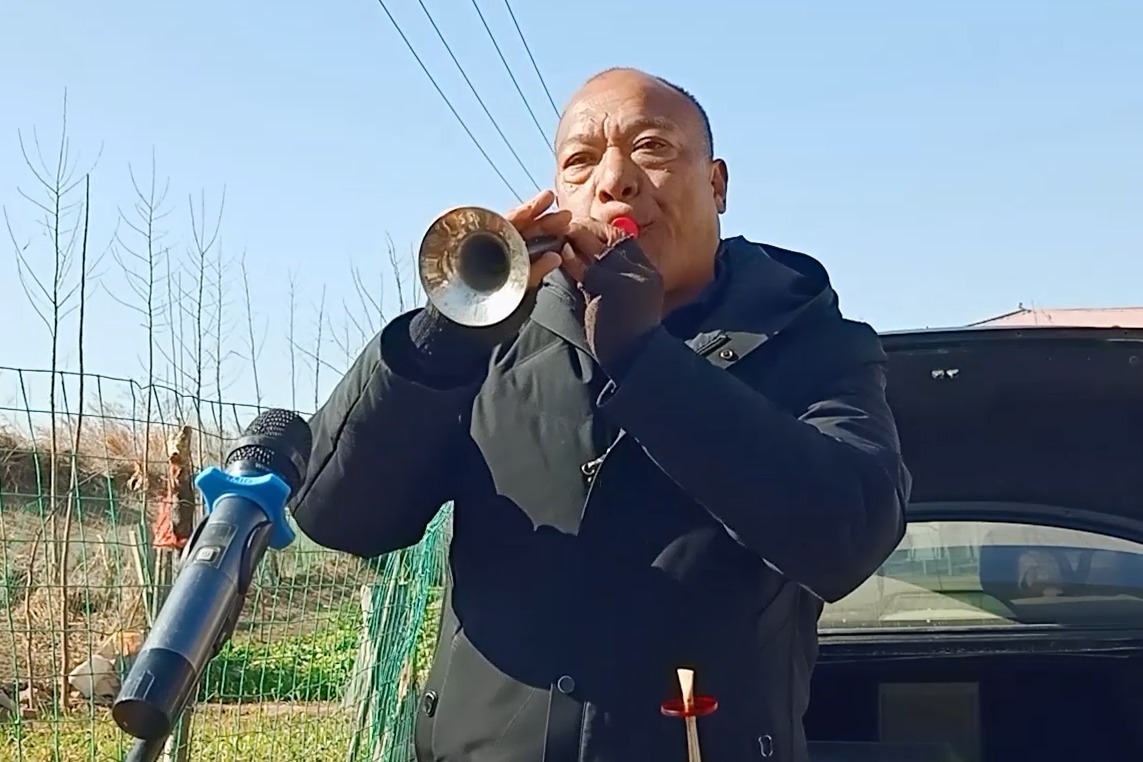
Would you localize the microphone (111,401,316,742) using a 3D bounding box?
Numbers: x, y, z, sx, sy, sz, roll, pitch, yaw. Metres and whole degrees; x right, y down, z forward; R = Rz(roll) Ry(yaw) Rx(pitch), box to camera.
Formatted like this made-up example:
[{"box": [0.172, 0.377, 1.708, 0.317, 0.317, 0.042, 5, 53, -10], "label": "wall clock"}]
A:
[{"box": [-0.934, 0.519, 3.071, 0.387, 0.942, 0.246, 7, -11, -11], "label": "microphone"}]
